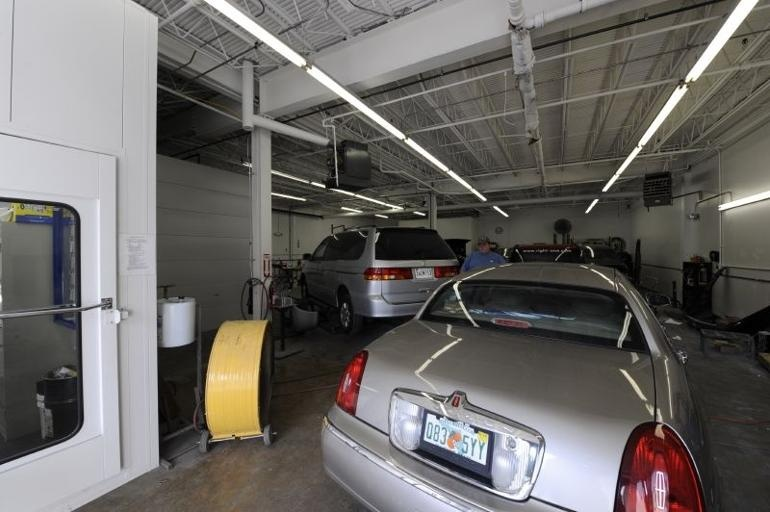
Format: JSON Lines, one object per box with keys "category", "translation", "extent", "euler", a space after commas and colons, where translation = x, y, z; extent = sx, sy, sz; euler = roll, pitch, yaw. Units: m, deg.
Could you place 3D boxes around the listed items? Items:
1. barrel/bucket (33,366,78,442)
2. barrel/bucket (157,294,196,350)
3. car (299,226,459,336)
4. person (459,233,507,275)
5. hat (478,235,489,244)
{"category": "barrel/bucket", "translation": [-3.161, 1.387, 4.409], "extent": [0.489, 0.578, 0.231], "euler": [-1, 1, 22]}
{"category": "barrel/bucket", "translation": [-2.220, 0.671, 4.905], "extent": [0.464, 0.540, 0.473], "euler": [1, 6, 0]}
{"category": "car", "translation": [-0.360, 0.251, 8.042], "extent": [1.355, 1.116, 2.770], "euler": [1, 3, -28]}
{"category": "person", "translation": [2.135, -0.145, 10.074], "extent": [1.214, 1.143, 0.641], "euler": [-3, -6, 25]}
{"category": "hat", "translation": [1.540, -0.266, 7.115], "extent": [0.141, 0.118, 0.171], "euler": [-1, 1, 9]}
